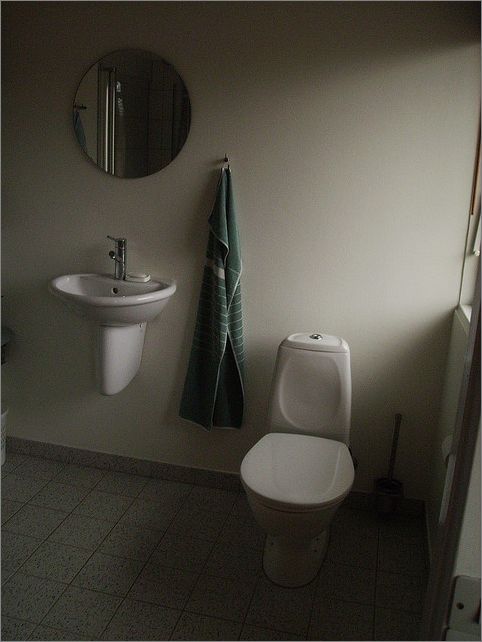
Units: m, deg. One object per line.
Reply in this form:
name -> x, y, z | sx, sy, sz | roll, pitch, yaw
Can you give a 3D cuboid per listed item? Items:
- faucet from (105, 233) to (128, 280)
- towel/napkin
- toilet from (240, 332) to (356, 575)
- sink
faucet -> -0.494, -0.257, 2.013 | 0.066, 0.183, 0.045 | -7, 32, -25
towel/napkin -> -0.116, -0.073, 1.989 | 0.266, 1.058, 0.152 | 0, 8, -4
toilet -> 0.221, 0.482, 1.737 | 0.254, 0.717, 0.596 | 6, 20, 16
sink -> -0.504, 0.074, 1.971 | 0.338, 0.475, 0.328 | 8, 22, 4
